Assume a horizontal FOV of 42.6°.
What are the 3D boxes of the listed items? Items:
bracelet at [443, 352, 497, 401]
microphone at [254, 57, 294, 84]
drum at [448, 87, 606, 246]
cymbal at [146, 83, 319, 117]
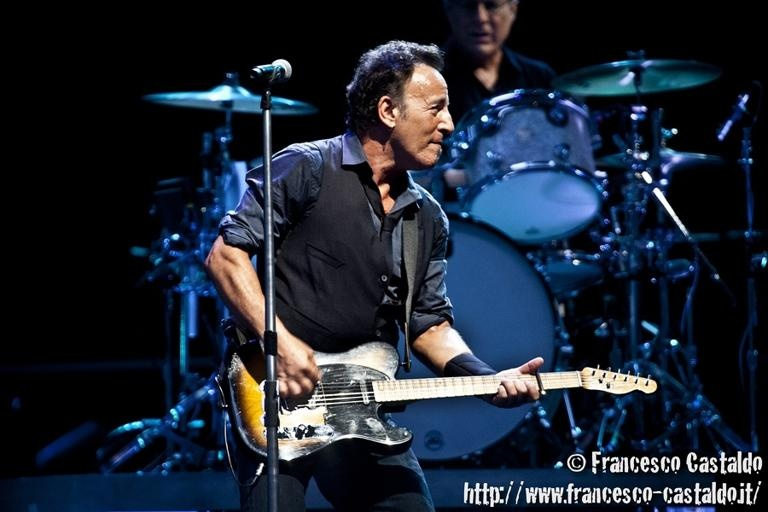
[{"bbox_3d":[0.542,0.785,6.311,0.410,0.173,0.663,1,-7,-1],"label":"bracelet"},{"bbox_3d":[-0.674,-1.147,6.020,0.143,0.185,0.254,-8,-5,39],"label":"microphone"},{"bbox_3d":[1.203,-0.665,8.305,1.237,0.865,1.267,0,-34,0],"label":"drum"},{"bbox_3d":[-1.280,-1.366,8.542,0.825,0.177,0.832,5,1,20],"label":"cymbal"}]
